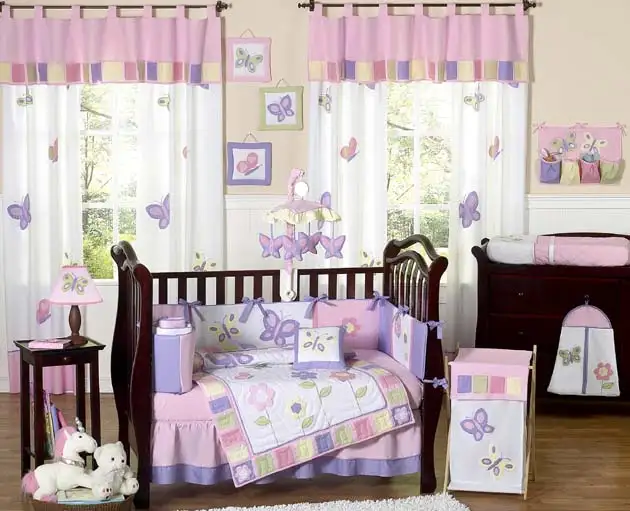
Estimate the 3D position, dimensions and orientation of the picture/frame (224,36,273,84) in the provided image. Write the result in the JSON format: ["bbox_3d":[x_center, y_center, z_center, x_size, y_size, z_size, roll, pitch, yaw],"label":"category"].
[{"bbox_3d":[-0.434,-1.336,4.417,0.294,0.378,0.004,-1,-7,-5],"label":"picture/frame"}]

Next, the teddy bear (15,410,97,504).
[{"bbox_3d":[-1.051,0.853,2.808,0.301,0.333,0.156,-3,-6,-19],"label":"teddy bear"}]

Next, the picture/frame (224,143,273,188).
[{"bbox_3d":[-0.449,-0.619,4.453,0.234,0.282,0.034,-1,7,-1],"label":"picture/frame"}]

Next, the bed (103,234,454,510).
[{"bbox_3d":[-0.215,0.474,3.326,1.550,1.170,1.106,-2,8,-17],"label":"bed"}]

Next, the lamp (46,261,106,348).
[{"bbox_3d":[-1.146,0.234,3.189,0.210,0.361,0.210,3,6,45],"label":"lamp"}]

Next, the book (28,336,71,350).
[{"bbox_3d":[-1.201,0.403,3.021,0.178,0.023,0.116,-2,8,-16],"label":"book"}]

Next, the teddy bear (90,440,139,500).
[{"bbox_3d":[-0.848,0.884,2.851,0.206,0.287,0.178,3,-6,-44],"label":"teddy bear"}]
